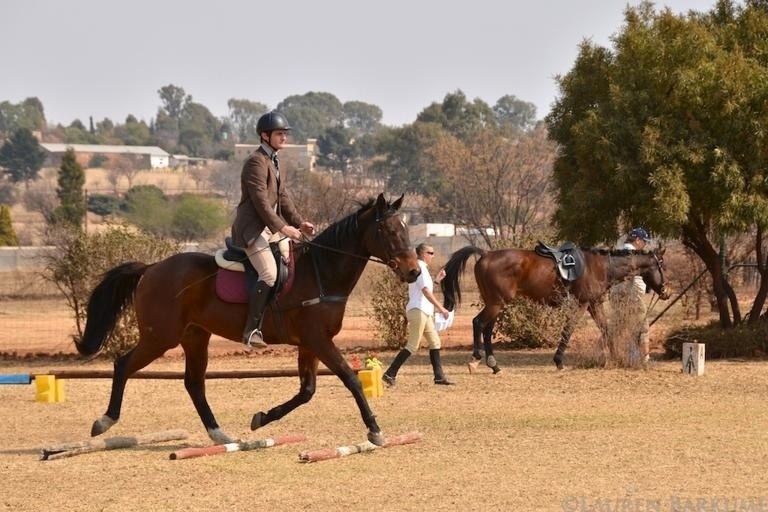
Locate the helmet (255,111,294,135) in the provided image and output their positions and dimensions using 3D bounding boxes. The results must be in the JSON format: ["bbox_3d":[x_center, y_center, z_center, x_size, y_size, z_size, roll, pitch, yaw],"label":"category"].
[{"bbox_3d":[-2.013,-2.422,19.768,0.557,0.341,0.451,1,5,7],"label":"helmet"}]

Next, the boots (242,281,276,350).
[{"bbox_3d":[-2.272,1.087,19.437,0.567,1.268,0.436,-3,14,-11],"label":"boots"}]

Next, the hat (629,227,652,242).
[{"bbox_3d":[6.150,-0.515,25.740,0.375,0.264,0.495,8,11,40],"label":"hat"}]
